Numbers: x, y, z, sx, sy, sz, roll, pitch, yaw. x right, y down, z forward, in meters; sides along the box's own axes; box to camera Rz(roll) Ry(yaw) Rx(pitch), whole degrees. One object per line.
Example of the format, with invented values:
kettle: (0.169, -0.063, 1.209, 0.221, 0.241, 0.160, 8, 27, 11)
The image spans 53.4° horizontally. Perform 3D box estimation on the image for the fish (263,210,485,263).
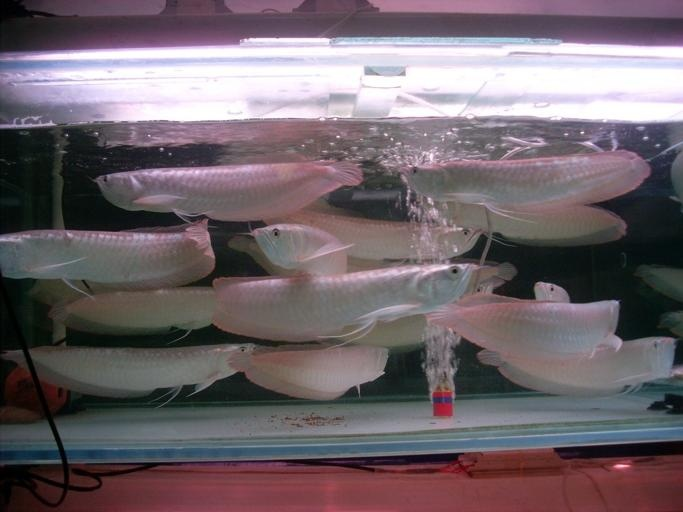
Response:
fish: (0.059, -0.049, 2.502, 0.989, 0.194, 0.221, 2, -4, -10)
